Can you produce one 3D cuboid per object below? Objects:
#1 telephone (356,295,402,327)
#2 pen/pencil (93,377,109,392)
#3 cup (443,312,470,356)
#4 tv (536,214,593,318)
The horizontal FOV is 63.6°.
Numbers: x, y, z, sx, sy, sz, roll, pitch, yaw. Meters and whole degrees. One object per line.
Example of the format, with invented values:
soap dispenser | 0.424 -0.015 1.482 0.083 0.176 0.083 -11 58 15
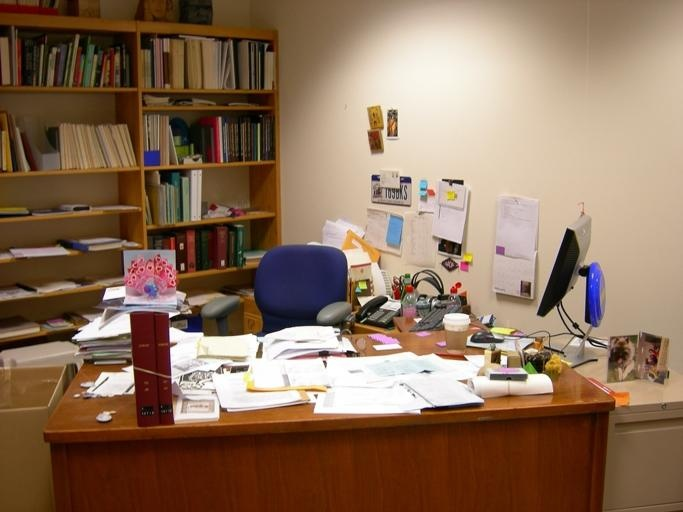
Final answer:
telephone | 0.228 0.320 3.361 0.214 0.085 0.168 3 21 29
pen/pencil | -0.932 0.497 2.139 0.010 0.002 0.074 8 16 11
cup | 0.501 0.344 2.478 0.137 0.165 0.148 0 9 0
tv | 1.088 0.047 2.660 0.099 0.359 0.460 18 26 21
